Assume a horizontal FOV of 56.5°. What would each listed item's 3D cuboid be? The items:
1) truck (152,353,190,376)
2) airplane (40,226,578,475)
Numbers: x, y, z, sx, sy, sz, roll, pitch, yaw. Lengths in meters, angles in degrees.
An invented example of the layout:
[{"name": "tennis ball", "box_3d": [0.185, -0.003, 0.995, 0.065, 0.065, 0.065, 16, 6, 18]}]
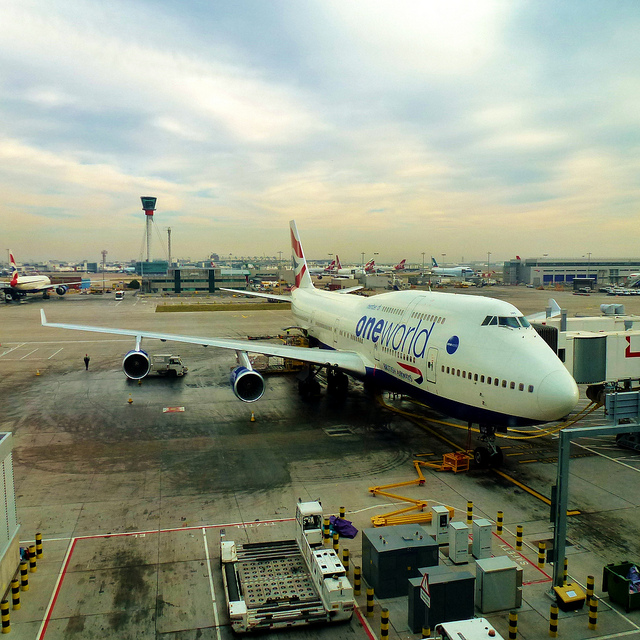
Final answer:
[{"name": "truck", "box_3d": [-11.299, 3.302, 44.752, 2.904, 1.127, 1.387, 0, 4, -3]}, {"name": "airplane", "box_3d": [3.631, 0.521, 34.600, 36.539, 7.535, 31.356, 3, 5, -17]}]
